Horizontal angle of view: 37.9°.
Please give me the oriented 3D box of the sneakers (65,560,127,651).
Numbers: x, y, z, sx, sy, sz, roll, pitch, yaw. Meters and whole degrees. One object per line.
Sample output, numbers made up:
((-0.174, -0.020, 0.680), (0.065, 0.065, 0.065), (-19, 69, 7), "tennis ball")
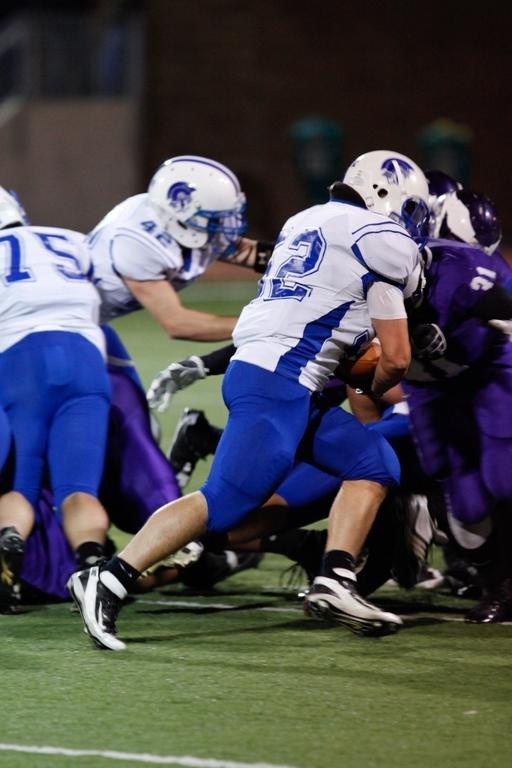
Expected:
((-0.352, 0.494, 1.675), (0.106, 0.182, 0.158), (2, 6, -19), "sneakers")

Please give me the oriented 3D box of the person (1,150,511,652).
((0.160, -0.057, 1.898), (1.148, 1.294, 0.615), (-2, 8, -44), "person")

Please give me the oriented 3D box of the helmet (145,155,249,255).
((-0.189, -0.634, 2.653), (0.403, 0.321, 0.273), (21, 22, -15), "helmet")

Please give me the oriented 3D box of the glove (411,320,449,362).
((0.480, -0.114, 2.130), (0.113, 0.080, 0.090), (37, 9, 35), "glove")
